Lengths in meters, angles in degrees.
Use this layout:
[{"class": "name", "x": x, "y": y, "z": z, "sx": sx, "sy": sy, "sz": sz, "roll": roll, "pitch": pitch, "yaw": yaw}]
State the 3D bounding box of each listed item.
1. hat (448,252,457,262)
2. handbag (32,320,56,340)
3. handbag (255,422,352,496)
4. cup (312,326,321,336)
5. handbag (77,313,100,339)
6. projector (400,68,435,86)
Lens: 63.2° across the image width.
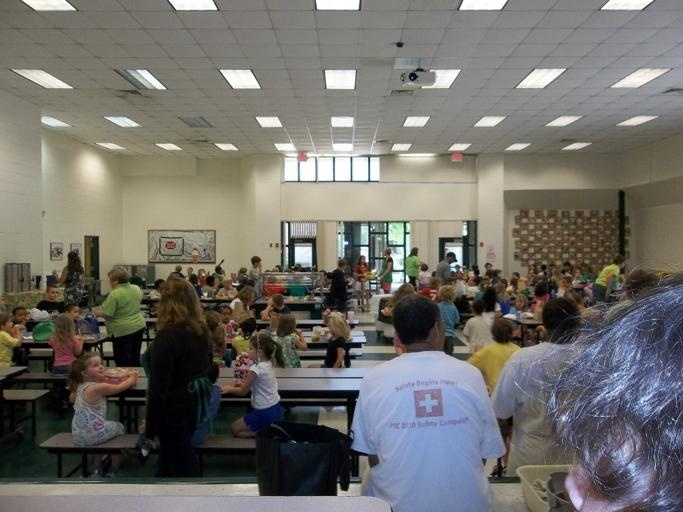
[{"class": "hat", "x": 2.649, "y": 0.027, "z": 13.258, "sx": 0.165, "sy": 0.254, "sz": 0.249, "roll": 11, "pitch": 26, "yaw": 40}, {"class": "handbag", "x": -3.851, "y": 0.940, "z": 7.207, "sx": 0.330, "sy": 0.156, "sz": 0.417, "roll": 3, "pitch": 11, "yaw": -16}, {"class": "handbag", "x": -0.193, "y": 0.968, "z": 2.789, "sx": 0.416, "sy": 0.325, "sz": 0.341, "roll": 3, "pitch": -4, "yaw": -3}, {"class": "cup", "x": -0.348, "y": 1.050, "z": 7.738, "sx": 0.102, "sy": 0.124, "sz": 0.092, "roll": -1, "pitch": 0, "yaw": 2}, {"class": "handbag", "x": -3.338, "y": 0.947, "z": 7.309, "sx": 0.328, "sy": 0.326, "sz": 0.253, "roll": 5, "pitch": -4, "yaw": -26}, {"class": "projector", "x": 1.207, "y": -2.760, "z": 8.614, "sx": 0.391, "sy": 0.187, "sz": 0.292, "roll": 0, "pitch": -3, "yaw": 20}]
